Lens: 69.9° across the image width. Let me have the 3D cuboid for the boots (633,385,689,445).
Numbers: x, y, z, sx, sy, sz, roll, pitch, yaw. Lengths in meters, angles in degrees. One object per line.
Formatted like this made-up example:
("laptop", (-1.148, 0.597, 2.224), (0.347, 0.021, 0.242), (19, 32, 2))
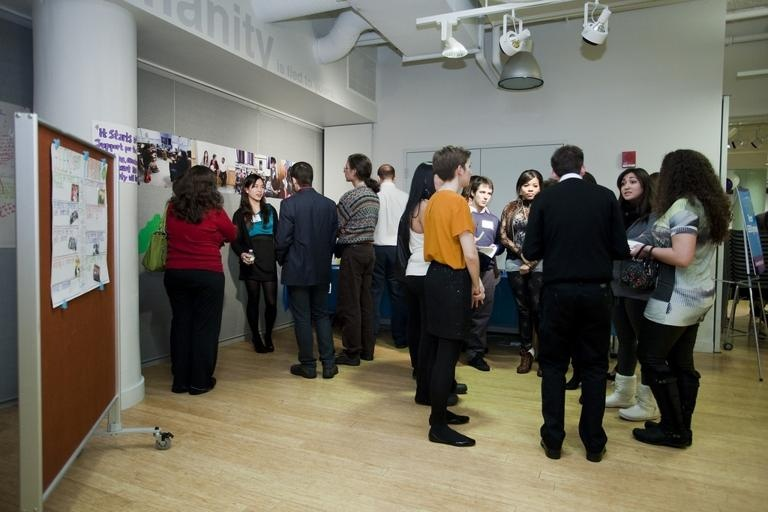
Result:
("boots", (2.278, 1.285, 4.533), (0.464, 0.539, 0.314), (-4, -8, 31))

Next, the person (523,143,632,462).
("person", (1.499, 0.321, 4.396), (0.723, 2.386, 0.690), (1, 1, 7))

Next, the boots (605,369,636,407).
("boots", (2.158, 1.247, 5.085), (0.310, 0.319, 0.153), (-6, -3, 32))

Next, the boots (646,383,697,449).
("boots", (2.338, 1.276, 4.543), (0.447, 0.550, 0.336), (-1, -16, 39))

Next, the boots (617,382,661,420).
("boots", (2.242, 1.286, 4.830), (0.387, 0.290, 0.163), (5, -11, -10))

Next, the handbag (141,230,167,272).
("handbag", (-2.267, -0.038, 5.407), (0.217, 0.458, 0.372), (8, 3, -16))
